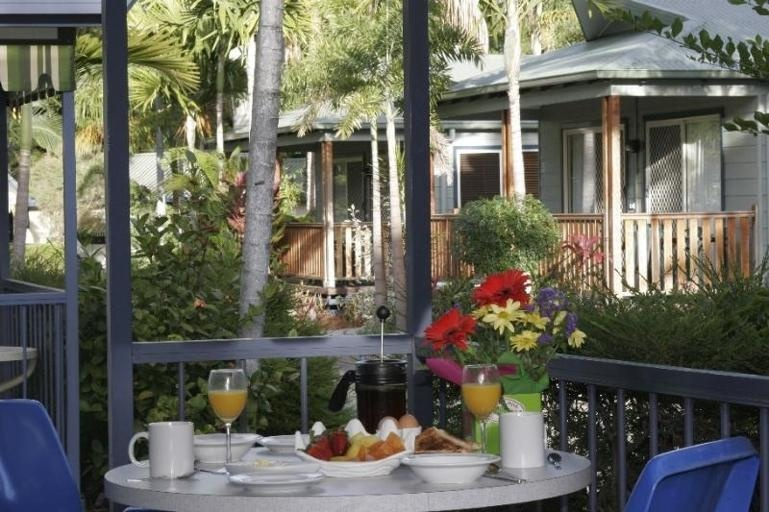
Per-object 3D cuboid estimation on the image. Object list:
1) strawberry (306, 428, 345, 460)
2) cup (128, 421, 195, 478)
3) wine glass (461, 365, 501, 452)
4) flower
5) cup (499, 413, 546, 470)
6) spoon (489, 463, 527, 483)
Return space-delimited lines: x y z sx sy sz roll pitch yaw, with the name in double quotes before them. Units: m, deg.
"strawberry" -0.292 0.963 5.157 0.160 0.090 0.124 -5 6 -30
"cup" -1.124 0.986 5.204 0.337 0.300 0.224 -2 -1 -1
"wine glass" 0.488 0.782 5.197 0.170 0.451 0.177 1 -1 -39
"flower" 0.674 0.407 5.673 0.851 0.666 0.646 1 -1 4
"cup" 0.710 0.951 5.275 0.229 0.309 0.249 -1 1 0
"spoon" 0.607 1.092 5.008 0.063 0.066 0.253 -14 15 -28
